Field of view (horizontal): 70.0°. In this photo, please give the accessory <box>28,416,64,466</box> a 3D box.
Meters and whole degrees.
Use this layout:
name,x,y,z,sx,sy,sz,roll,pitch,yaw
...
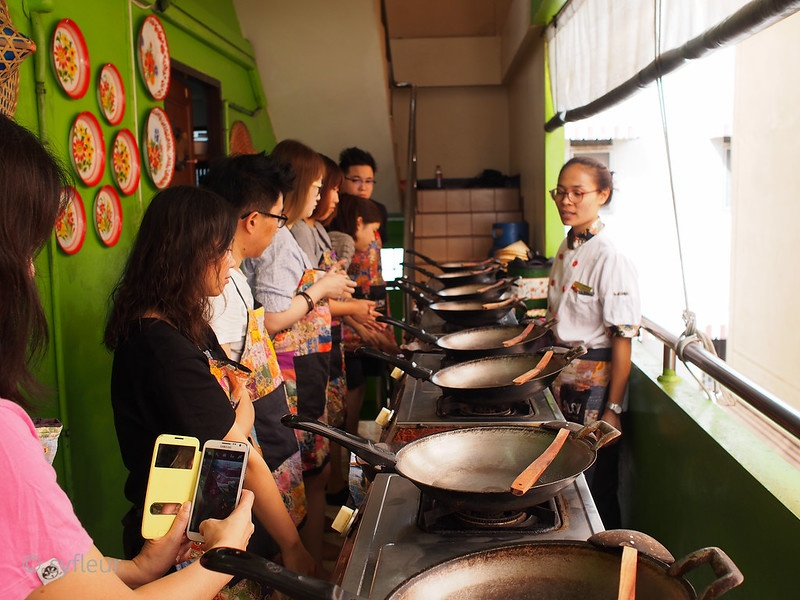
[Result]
name,x,y,z,sx,sy,sz,roll,pitch,yaw
accessory,-0.575,0.245,0.948,0.045,0.067,0.044,19,-26,-37

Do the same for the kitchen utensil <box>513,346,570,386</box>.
name,x,y,z,sx,sy,sz,roll,pitch,yaw
kitchen utensil,0.415,0.129,1.635,0.049,0.049,0.447,9,19,26

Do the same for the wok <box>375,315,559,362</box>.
name,x,y,z,sx,sy,sz,roll,pitch,yaw
wok,0.264,0.126,1.900,0.342,0.107,0.206,-4,-1,-1

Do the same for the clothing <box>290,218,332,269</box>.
name,x,y,z,sx,sy,sz,roll,pitch,yaw
clothing,-0.379,-0.235,2.407,0.062,0.114,0.239,-16,4,13

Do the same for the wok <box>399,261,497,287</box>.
name,x,y,z,sx,sy,sz,roll,pitch,yaw
wok,0.289,-0.142,3.228,0.407,0.070,0.253,4,5,34

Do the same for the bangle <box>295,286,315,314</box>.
name,x,y,z,sx,sy,sz,roll,pitch,yaw
bangle,-0.343,-0.005,2.133,0.028,0.076,0.075,-24,41,10

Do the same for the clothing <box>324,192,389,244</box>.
name,x,y,z,sx,sy,sz,roll,pitch,yaw
clothing,-0.237,-0.463,3.250,0.372,0.369,0.287,-2,11,-13

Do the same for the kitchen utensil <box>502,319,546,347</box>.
name,x,y,z,sx,sy,sz,roll,pitch,yaw
kitchen utensil,0.429,0.111,1.965,0.040,0.059,0.283,-31,-3,32

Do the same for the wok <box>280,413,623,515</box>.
name,x,y,z,sx,sy,sz,roll,pitch,yaw
wok,0.108,0.311,1.091,0.451,0.138,0.272,-6,2,-4

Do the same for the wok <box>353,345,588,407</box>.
name,x,y,z,sx,sy,sz,roll,pitch,yaw
wok,0.241,0.207,1.571,0.426,0.117,0.253,-2,-1,-1

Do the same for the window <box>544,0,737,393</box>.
name,x,y,z,sx,sy,sz,roll,pitch,yaw
window,1.713,-0.657,3.910,0.498,2.196,2.132,-3,1,-21

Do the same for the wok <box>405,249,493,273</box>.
name,x,y,z,sx,sy,sz,roll,pitch,yaw
wok,0.364,-0.243,3.822,0.490,0.076,0.323,5,6,12

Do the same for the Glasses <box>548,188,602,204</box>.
name,x,y,z,sx,sy,sz,roll,pitch,yaw
Glasses,0.672,-0.401,2.215,0.093,0.030,0.091,2,1,-42

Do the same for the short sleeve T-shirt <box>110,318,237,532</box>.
name,x,y,z,sx,sy,sz,roll,pitch,yaw
short sleeve T-shirt,-0.576,0.198,1.550,0.329,0.607,0.580,-6,2,-25

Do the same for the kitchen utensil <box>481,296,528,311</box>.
name,x,y,z,sx,sy,sz,roll,pitch,yaw
kitchen utensil,0.454,0.010,2.521,0.060,0.022,0.157,-5,7,45

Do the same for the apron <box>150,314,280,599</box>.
name,x,y,z,sx,sy,sz,roll,pitch,yaw
apron,-0.438,0.450,1.484,0.201,0.770,0.241,-10,5,21

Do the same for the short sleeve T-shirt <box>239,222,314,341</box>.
name,x,y,z,sx,sy,sz,roll,pitch,yaw
short sleeve T-shirt,-0.380,-0.113,2.134,0.273,0.443,0.519,-1,14,0

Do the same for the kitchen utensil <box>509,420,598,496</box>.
name,x,y,z,sx,sy,sz,roll,pitch,yaw
kitchen utensil,0.295,0.294,1.115,0.059,0.035,0.409,4,15,29
